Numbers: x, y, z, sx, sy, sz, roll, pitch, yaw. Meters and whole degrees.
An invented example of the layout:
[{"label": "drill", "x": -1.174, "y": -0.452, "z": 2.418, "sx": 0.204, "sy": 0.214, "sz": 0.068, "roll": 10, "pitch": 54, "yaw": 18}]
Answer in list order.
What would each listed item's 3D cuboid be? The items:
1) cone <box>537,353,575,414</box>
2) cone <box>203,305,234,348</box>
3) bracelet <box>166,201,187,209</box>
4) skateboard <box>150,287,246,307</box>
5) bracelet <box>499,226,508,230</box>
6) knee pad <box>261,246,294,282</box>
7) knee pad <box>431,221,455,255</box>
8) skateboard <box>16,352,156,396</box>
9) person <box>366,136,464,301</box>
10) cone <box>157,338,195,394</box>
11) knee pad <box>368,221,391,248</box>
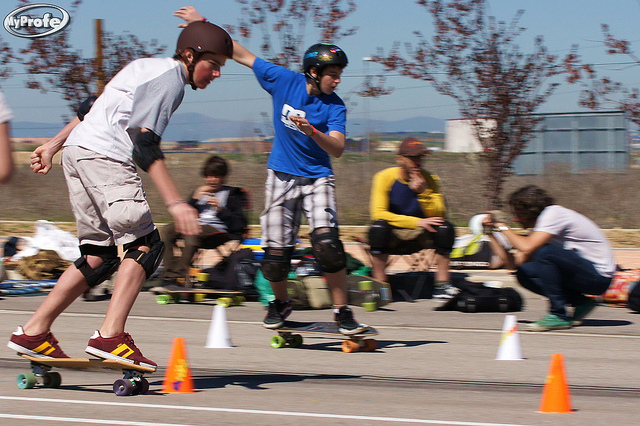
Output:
[{"label": "cone", "x": 1.780, "y": 1.272, "z": 6.513, "sx": 0.261, "sy": 0.414, "sz": 0.268, "roll": 3, "pitch": 6, "yaw": 13}, {"label": "cone", "x": -0.974, "y": 1.065, "z": 8.232, "sx": 0.252, "sy": 0.389, "sz": 0.267, "roll": 0, "pitch": 6, "yaw": -10}, {"label": "bracelet", "x": -1.090, "y": -0.070, "z": 6.579, "sx": 0.135, "sy": 0.041, "sz": 0.106, "roll": 0, "pitch": 4, "yaw": -7}, {"label": "skateboard", "x": -1.502, "y": 1.008, "z": 10.710, "sx": 1.018, "sy": 0.099, "sz": 0.374, "roll": 1, "pitch": -1, "yaw": 2}, {"label": "bracelet", "x": 1.944, "y": 0.159, "z": 9.190, "sx": 0.091, "sy": 0.033, "sz": 0.061, "roll": 0, "pitch": 5, "yaw": -7}, {"label": "knee pad", "x": -0.409, "y": 0.482, "z": 8.193, "sx": 0.297, "sy": 0.334, "sz": 0.124, "roll": 1, "pitch": 7, "yaw": -2}, {"label": "knee pad", "x": 1.446, "y": 0.297, "z": 10.293, "sx": 0.312, "sy": 0.396, "sz": 0.176, "roll": 0, "pitch": 7, "yaw": -12}, {"label": "skateboard", "x": -1.800, "y": 1.241, "z": 6.760, "sx": 1.157, "sy": 0.315, "sz": 0.302, "roll": 2, "pitch": 5, "yaw": 16}, {"label": "person", "x": 1.117, "y": 0.065, "z": 10.398, "sx": 1.084, "sy": 1.930, "sz": 0.584, "roll": 2, "pitch": 7, "yaw": 2}, {"label": "cone", "x": -1.093, "y": 1.204, "z": 6.832, "sx": 0.269, "sy": 0.392, "sz": 0.247, "roll": 3, "pitch": 6, "yaw": 13}, {"label": "knee pad", "x": 0.715, "y": 0.260, "z": 10.382, "sx": 0.261, "sy": 0.316, "sz": 0.141, "roll": 1, "pitch": 6, "yaw": 0}]
